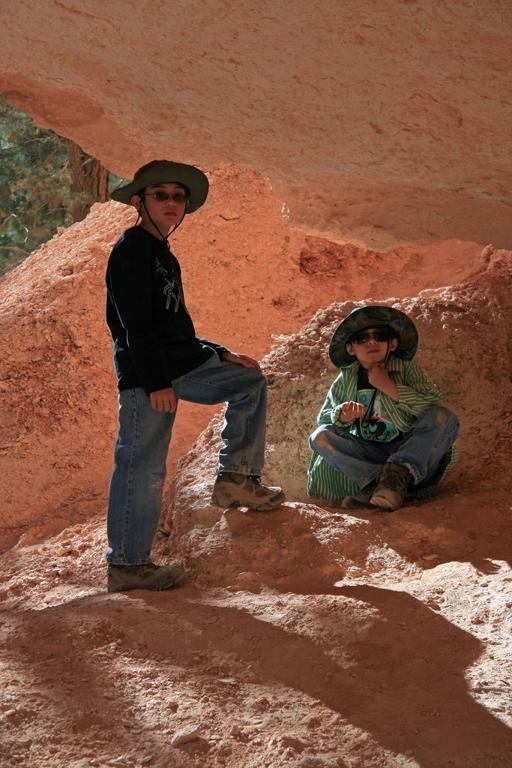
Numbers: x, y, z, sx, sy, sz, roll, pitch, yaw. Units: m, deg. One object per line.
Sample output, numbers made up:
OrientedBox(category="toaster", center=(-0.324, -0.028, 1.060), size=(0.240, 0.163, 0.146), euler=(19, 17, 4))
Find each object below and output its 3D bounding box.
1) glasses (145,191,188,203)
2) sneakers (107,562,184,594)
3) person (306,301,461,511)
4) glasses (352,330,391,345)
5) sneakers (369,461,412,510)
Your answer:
OrientedBox(category="glasses", center=(-0.324, -0.682, 2.911), size=(0.079, 0.019, 0.072), euler=(0, 1, -26))
OrientedBox(category="sneakers", center=(-0.395, 0.667, 2.750), size=(0.278, 0.092, 0.093), euler=(3, -6, -21))
OrientedBox(category="person", center=(0.550, 0.130, 3.471), size=(0.518, 0.922, 0.680), euler=(-8, 17, -26))
OrientedBox(category="glasses", center=(0.507, -0.208, 3.486), size=(0.099, 0.079, 0.029), euler=(-7, 8, 18))
OrientedBox(category="sneakers", center=(0.552, 0.427, 3.299), size=(0.158, 0.195, 0.231), euler=(4, 15, 14))
